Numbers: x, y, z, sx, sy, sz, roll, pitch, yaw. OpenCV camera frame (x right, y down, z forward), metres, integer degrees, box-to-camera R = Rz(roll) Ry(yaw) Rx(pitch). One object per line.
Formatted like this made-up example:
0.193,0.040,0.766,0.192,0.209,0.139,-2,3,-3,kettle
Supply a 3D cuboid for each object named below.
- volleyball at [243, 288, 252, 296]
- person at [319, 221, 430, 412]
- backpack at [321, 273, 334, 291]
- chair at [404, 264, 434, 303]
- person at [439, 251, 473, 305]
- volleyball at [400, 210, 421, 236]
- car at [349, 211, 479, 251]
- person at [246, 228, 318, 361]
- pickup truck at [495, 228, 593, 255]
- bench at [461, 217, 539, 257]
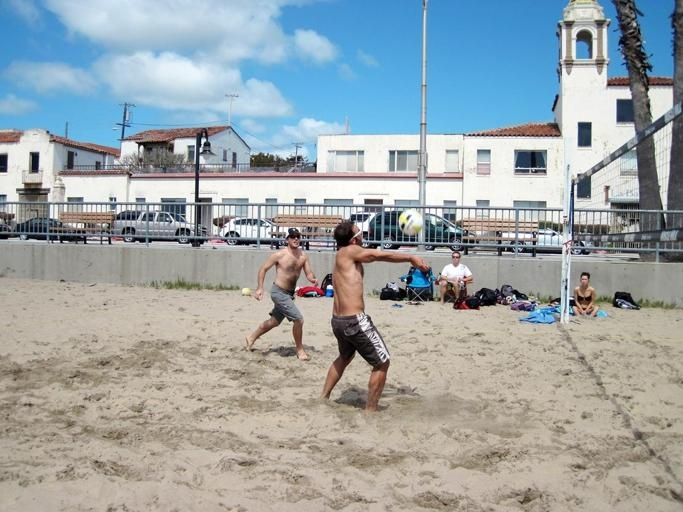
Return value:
-2.042,0.830,16.018,0.173,0.164,0.160,-13,43,-6,volleyball
0.247,0.764,9.008,0.672,2.270,1.196,-12,18,-44,person
-0.308,0.551,15.850,0.290,0.462,0.453,0,-2,-1,backpack
1.637,0.555,15.199,0.652,0.852,0.628,1,13,-14,chair
2.310,0.458,14.847,0.671,0.945,0.602,2,13,4,person
1.248,-0.607,13.306,0.405,0.509,0.419,-11,-5,16,volleyball
1.632,-0.515,16.508,2.336,0.930,1.111,-1,0,3,car
-0.885,0.577,11.061,0.999,1.858,1.402,-1,13,-8,person
4.341,-0.281,15.745,1.745,0.602,0.858,4,14,10,pickup truck
3.517,-0.392,16.209,1.708,0.851,0.626,-1,3,6,bench
